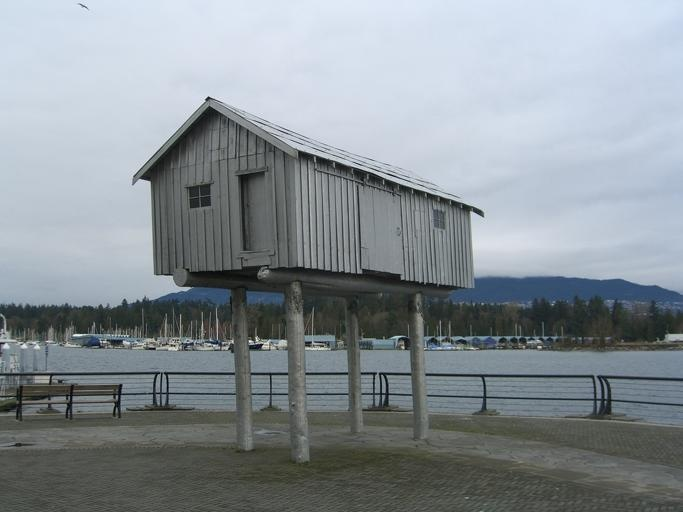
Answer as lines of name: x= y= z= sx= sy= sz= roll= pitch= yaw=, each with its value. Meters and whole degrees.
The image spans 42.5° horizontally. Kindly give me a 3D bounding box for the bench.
bench: x=-9.484 y=4.824 z=30.687 sx=3.349 sy=1.201 sz=0.945 roll=1 pitch=11 yaw=-24
